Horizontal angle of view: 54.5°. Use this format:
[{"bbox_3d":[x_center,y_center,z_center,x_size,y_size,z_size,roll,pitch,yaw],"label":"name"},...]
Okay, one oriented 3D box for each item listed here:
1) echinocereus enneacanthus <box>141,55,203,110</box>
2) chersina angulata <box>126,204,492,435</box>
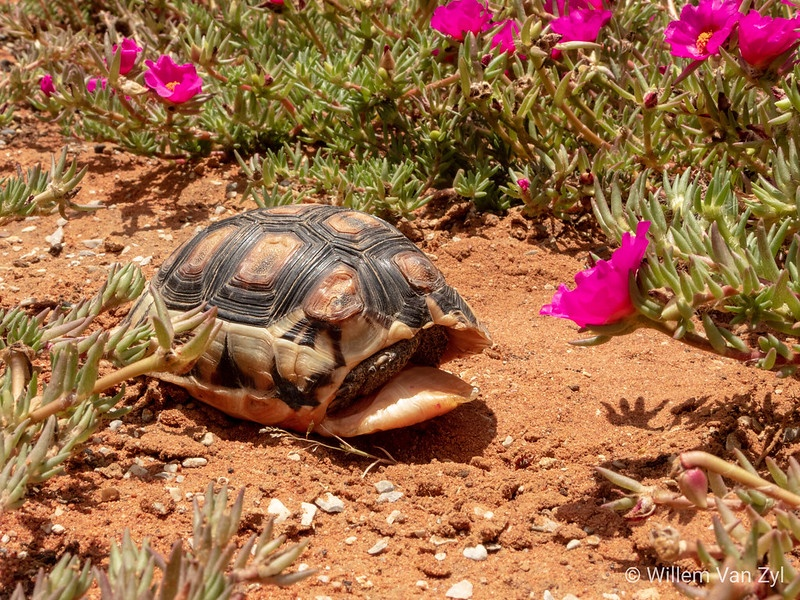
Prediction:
[{"bbox_3d":[-1.206,-1.169,4.081,0.321,0.253,0.256,7,34,-2],"label":"echinocereus enneacanthus"},{"bbox_3d":[-0.325,0.107,3.268,1.396,0.683,0.754,13,34,7],"label":"chersina angulata"}]
